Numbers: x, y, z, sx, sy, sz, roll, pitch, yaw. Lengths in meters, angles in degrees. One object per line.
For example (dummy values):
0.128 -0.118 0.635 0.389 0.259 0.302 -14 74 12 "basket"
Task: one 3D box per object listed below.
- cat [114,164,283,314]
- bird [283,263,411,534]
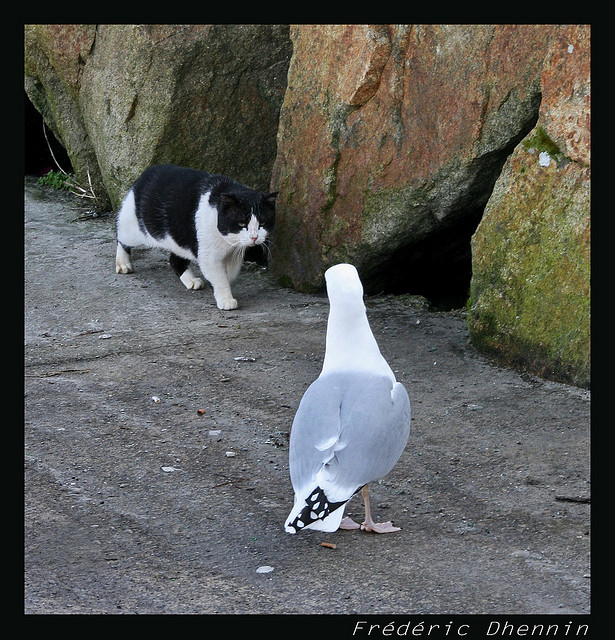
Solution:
-0.692 -0.554 5.646 0.440 0.780 1.303 -16 31 -42 "cat"
0.103 0.234 2.616 0.312 0.652 0.563 3 21 17 "bird"
